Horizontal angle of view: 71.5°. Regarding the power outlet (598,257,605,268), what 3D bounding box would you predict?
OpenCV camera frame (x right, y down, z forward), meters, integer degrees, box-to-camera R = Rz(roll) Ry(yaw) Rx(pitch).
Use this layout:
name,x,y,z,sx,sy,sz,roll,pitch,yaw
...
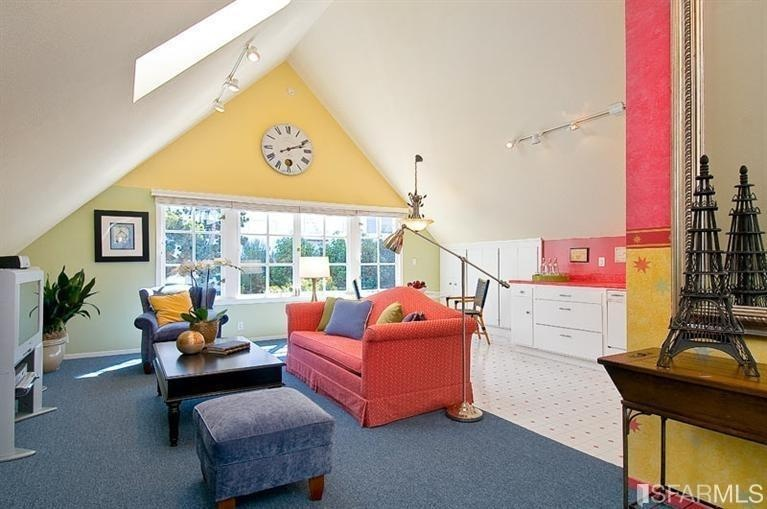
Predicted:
name,x,y,z,sx,sy,sz,roll,pitch,yaw
power outlet,2.867,0.104,7.044,0.021,0.212,0.122,5,-7,-18

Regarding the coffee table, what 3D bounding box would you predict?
name,x,y,z,sx,sy,sz,roll,pitch,yaw
coffee table,-1.557,1.029,4.880,0.692,0.484,1.043,-1,4,-32

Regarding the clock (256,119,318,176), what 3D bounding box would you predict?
name,x,y,z,sx,sy,sz,roll,pitch,yaw
clock,-1.512,-1.619,8.041,0.663,0.658,0.107,44,-28,-18

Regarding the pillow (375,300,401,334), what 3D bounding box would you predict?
name,x,y,z,sx,sy,sz,roll,pitch,yaw
pillow,0.052,0.669,5.448,0.181,0.301,0.335,12,2,1

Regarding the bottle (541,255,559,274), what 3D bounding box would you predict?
name,x,y,z,sx,sy,sz,roll,pitch,yaw
bottle,2.372,0.152,7.622,0.084,0.247,0.250,2,0,-27

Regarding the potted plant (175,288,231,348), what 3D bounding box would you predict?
name,x,y,z,sx,sy,sz,roll,pitch,yaw
potted plant,-1.818,0.690,5.786,0.462,0.734,0.667,1,-7,-8

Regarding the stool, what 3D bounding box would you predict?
name,x,y,z,sx,sy,sz,roll,pitch,yaw
stool,-0.870,1.426,3.934,0.950,0.665,0.536,-4,11,-20

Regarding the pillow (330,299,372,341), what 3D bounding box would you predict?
name,x,y,z,sx,sy,sz,roll,pitch,yaw
pillow,-0.376,0.714,5.923,0.448,0.411,0.138,6,-19,40

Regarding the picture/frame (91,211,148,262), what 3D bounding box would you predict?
name,x,y,z,sx,sy,sz,roll,pitch,yaw
picture/frame,-3.501,-0.236,7.006,0.660,0.782,0.059,1,-3,-35

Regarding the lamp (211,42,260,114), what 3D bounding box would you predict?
name,x,y,z,sx,sy,sz,roll,pitch,yaw
lamp,-1.809,-2.139,6.428,0.857,0.315,0.248,-44,-38,17
